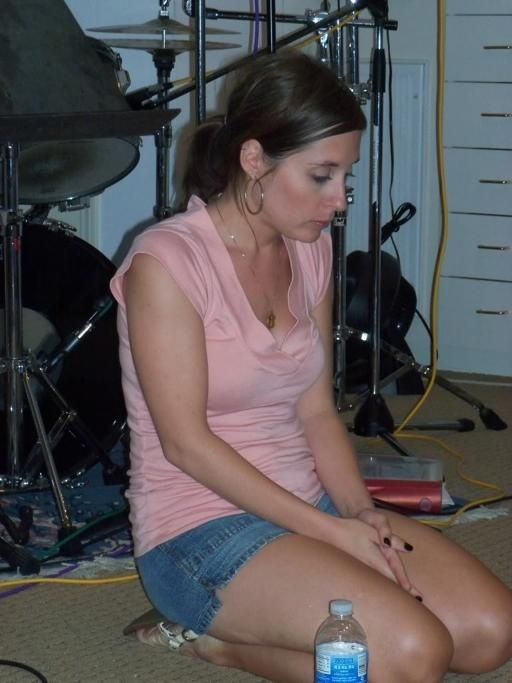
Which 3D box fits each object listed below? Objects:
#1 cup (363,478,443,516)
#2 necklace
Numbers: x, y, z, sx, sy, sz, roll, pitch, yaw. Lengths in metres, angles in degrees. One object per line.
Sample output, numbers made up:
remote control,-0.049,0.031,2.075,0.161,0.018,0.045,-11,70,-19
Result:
cup,0.365,0.369,1.608,0.242,0.076,0.137,2,-12,-4
necklace,-0.022,-0.131,1.018,0.053,0.202,0.122,-30,-12,33
